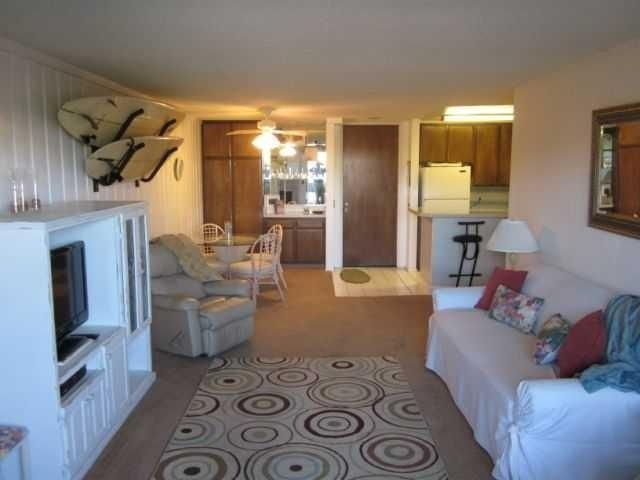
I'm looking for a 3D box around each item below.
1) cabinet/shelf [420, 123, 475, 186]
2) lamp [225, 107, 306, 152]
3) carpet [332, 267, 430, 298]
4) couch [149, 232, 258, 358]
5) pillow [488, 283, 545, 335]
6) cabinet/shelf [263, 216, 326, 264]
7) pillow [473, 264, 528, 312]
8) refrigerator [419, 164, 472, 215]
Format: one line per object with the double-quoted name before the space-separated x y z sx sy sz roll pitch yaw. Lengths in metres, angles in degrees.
"cabinet/shelf" 2.214 -1.503 8.311 1.328 1.034 0.422 1 10 1
"lamp" -0.633 -1.629 7.425 0.949 0.410 0.982 0 4 -32
"carpet" 0.938 0.634 7.638 1.456 0.138 1.725 0 11 1
"couch" -1.408 0.496 5.261 1.359 1.116 1.212 3 8 13
"pillow" 1.711 0.595 4.159 0.157 0.299 0.478 25 -2 -29
"cabinet/shelf" -0.449 -0.043 8.226 1.004 0.699 0.317 0 5 -1
"pillow" 1.700 0.472 4.550 0.144 0.383 0.441 17 7 -4
"refrigerator" 2.106 -0.851 8.373 1.010 1.219 0.917 0 3 -1
